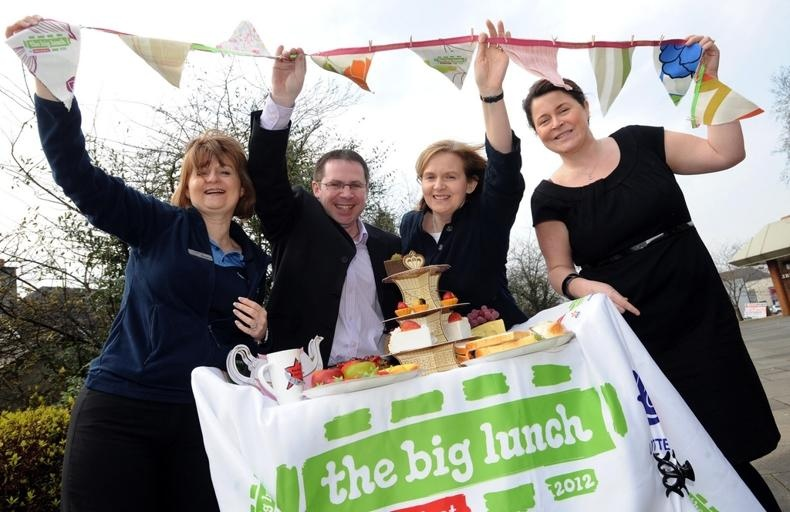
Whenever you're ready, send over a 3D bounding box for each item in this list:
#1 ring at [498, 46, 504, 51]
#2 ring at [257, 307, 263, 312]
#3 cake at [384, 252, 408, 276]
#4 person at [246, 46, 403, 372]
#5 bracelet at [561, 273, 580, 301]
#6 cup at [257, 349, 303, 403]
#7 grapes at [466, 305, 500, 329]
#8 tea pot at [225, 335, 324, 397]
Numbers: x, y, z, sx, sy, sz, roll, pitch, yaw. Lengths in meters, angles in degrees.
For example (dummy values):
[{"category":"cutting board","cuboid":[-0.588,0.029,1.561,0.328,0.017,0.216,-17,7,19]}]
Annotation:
[{"category":"ring","cuboid":[0.691,-1.352,2.975,0.032,0.022,0.044,3,-10,13]},{"category":"ring","cuboid":[-0.847,0.332,2.831,0.020,0.025,0.024,-2,-7,-14]},{"category":"cake","cuboid":[0.002,0.059,2.884,0.158,0.101,0.066,-16,-13,28]},{"category":"person","cuboid":[-0.576,-0.073,3.438,0.869,2.559,0.945,0,1,-22]},{"category":"bracelet","cuboid":[1.185,0.201,3.061,0.088,0.136,0.141,-21,-8,11]},{"category":"cup","cuboid":[-0.596,0.629,2.434,0.289,0.303,0.188,1,-5,-37]},{"category":"grapes","cuboid":[0.585,0.401,3.061,0.131,0.111,0.188,-4,1,-2]},{"category":"tea pot","cuboid":[-0.644,0.618,2.480,0.447,0.358,0.286,-9,-4,-16]}]
